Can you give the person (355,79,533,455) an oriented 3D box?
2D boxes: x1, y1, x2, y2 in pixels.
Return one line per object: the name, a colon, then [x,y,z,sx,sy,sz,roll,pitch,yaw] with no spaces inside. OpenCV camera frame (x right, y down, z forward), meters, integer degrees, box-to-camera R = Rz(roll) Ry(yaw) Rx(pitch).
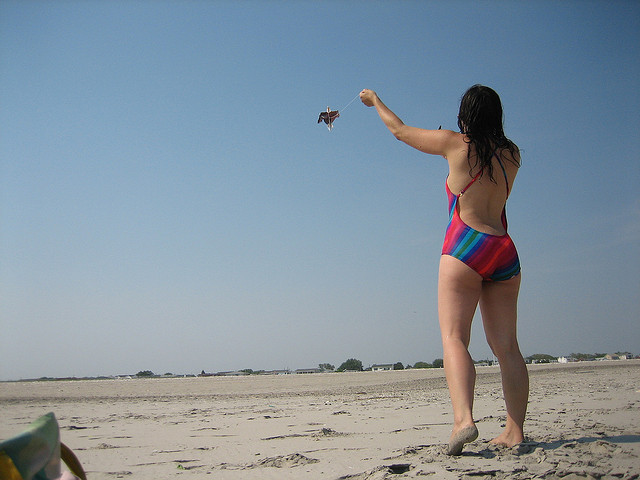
person: [1.209,0.184,4.771,0.916,2.885,0.514,-1,-11,-24]
